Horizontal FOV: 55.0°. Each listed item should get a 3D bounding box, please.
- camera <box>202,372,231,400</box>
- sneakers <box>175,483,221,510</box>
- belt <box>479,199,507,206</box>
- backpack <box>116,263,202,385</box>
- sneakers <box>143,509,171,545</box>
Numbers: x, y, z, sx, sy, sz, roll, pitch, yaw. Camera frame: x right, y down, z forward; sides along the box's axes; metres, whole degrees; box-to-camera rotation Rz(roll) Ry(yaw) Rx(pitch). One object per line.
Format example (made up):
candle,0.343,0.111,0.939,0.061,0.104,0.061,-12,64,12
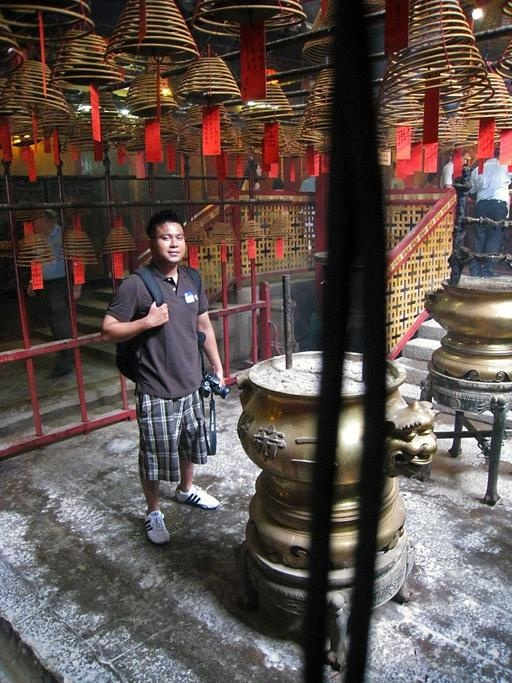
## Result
camera,-0.299,0.328,3.432,0.195,0.104,0.181,14,17,7
sneakers,-0.453,1.213,3.786,0.391,0.152,0.135,10,16,9
belt,3.708,-2.217,7.745,0.394,0.097,0.099,3,13,22
backpack,-0.625,-0.118,3.297,0.625,0.761,0.358,-8,14,-25
sneakers,-0.698,1.282,3.413,0.114,0.117,0.279,-3,17,-25
